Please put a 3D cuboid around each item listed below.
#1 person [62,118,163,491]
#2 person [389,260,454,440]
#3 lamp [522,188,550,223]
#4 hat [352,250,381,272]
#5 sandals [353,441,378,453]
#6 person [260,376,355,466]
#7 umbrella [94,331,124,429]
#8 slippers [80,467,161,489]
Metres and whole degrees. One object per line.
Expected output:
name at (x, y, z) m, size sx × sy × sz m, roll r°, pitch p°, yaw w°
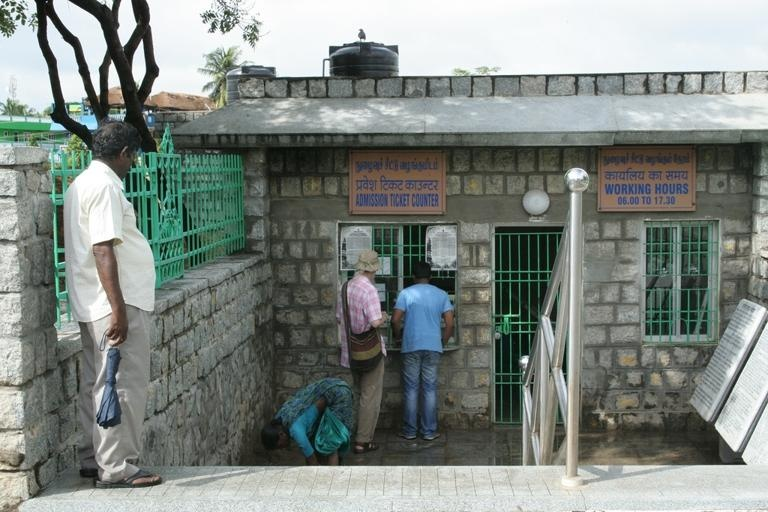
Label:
person at (-2.126, 0.371, 7.244) m, size 0.662 × 2.816 × 0.652 m, roll -2°, pitch 10°, yaw -19°
person at (0.478, 1.212, 11.796) m, size 0.758 × 2.256 × 0.317 m, roll 1°, pitch 9°, yaw 1°
lamp at (1.953, -0.651, 11.930) m, size 0.377 × 0.418 × 0.136 m, roll 2°, pitch 9°, yaw 5°
hat at (-0.193, 0.057, 11.380) m, size 0.270 × 0.158 × 0.279 m, roll 8°, pitch 28°, yaw 6°
sandals at (-0.227, 2.363, 11.492) m, size 0.306 × 0.109 × 0.116 m, roll -6°, pitch 11°, yaw -30°
person at (-0.810, 1.831, 9.974) m, size 0.662 × 0.915 × 0.909 m, roll 4°, pitch 9°, yaw 21°
umbrella at (-2.099, 0.972, 7.076) m, size 0.180 × 0.689 × 0.208 m, roll -2°, pitch 9°, yaw -14°
slippers at (-2.065, 1.684, 7.223) m, size 0.559 × 0.153 × 0.206 m, roll 0°, pitch -2°, yaw -10°
